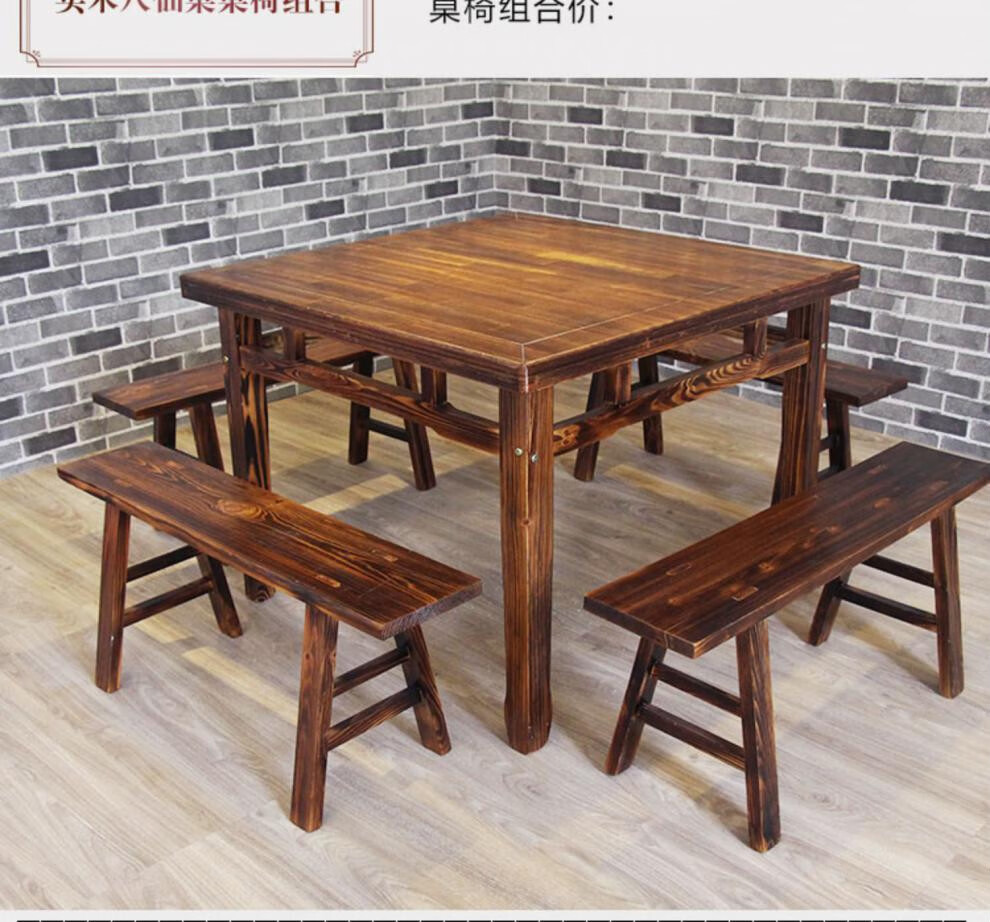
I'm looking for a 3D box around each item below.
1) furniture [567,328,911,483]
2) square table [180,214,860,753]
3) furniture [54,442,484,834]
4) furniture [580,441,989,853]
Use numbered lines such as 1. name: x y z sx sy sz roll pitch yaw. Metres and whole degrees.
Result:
1. furniture: 0.885 -0.180 2.965 0.805 0.360 0.305 14 33 31
2. square table: -0.052 0.016 2.872 1.868 1.095 1.832 -23 33 -39
3. furniture: -0.614 0.482 2.196 1.004 0.378 0.368 17 30 33
4. furniture: 0.747 0.485 2.117 0.997 0.388 0.385 -21 33 -34
